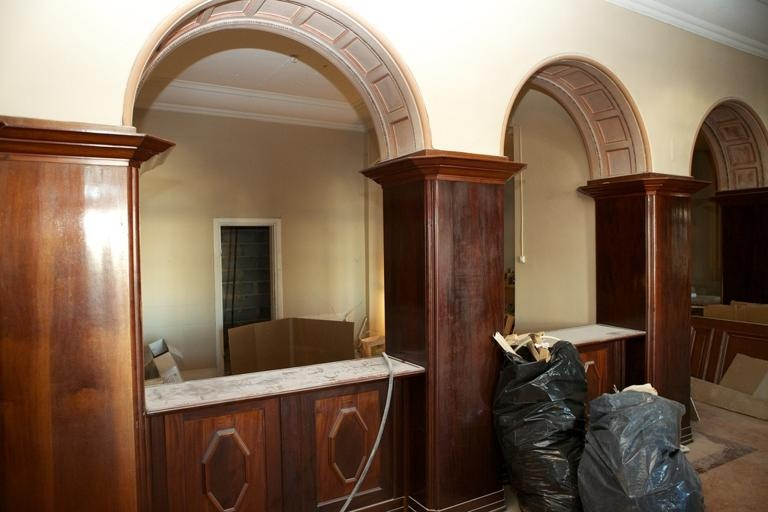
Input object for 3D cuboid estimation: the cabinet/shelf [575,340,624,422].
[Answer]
[{"bbox_3d":[1.975,1.077,4.808,0.720,0.491,0.195,-4,1,-42],"label":"cabinet/shelf"}]
